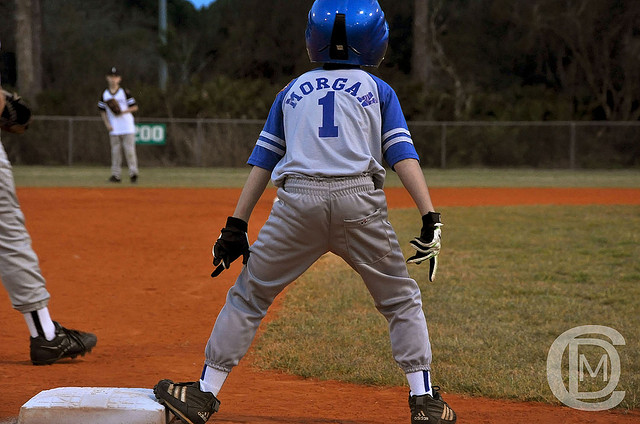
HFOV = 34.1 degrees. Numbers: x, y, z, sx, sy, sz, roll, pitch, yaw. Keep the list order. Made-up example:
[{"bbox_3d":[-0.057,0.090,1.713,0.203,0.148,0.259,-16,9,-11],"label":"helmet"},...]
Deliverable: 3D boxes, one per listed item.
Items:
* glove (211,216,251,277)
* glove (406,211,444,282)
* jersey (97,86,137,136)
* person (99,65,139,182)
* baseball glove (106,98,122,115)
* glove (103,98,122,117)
[{"bbox_3d":[-0.624,0.269,7.845,0.291,0.140,0.515,11,41,-20],"label":"glove"},{"bbox_3d":[0.768,0.230,7.766,0.275,0.467,0.266,16,3,31],"label":"glove"},{"bbox_3d":[-2.198,-1.114,11.228,0.425,0.521,0.203,-9,11,-1],"label":"jersey"},{"bbox_3d":[-2.160,-0.956,11.136,0.396,1.247,0.504,-2,7,-14],"label":"person"},{"bbox_3d":[-2.203,-1.132,11.083,0.099,0.161,0.044,-22,16,17],"label":"baseball glove"},{"bbox_3d":[-2.213,-1.134,11.083,0.121,0.189,0.045,-8,47,15],"label":"glove"}]
